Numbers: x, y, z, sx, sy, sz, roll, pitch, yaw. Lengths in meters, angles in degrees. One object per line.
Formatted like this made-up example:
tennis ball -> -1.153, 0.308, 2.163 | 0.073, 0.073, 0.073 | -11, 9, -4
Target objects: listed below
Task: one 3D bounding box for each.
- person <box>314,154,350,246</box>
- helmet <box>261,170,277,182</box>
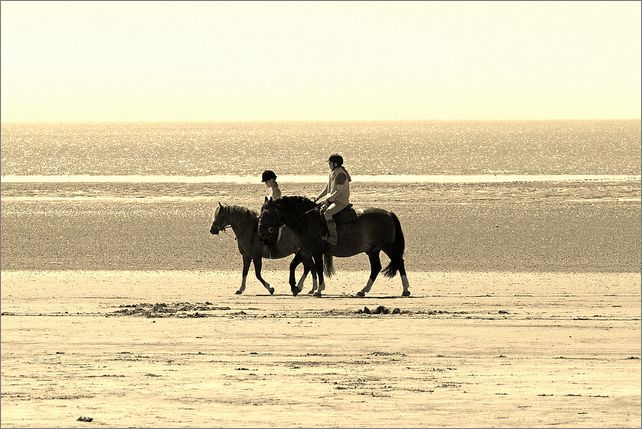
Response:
person -> 0.374, -0.513, 53.268 | 1.049, 3.049, 0.641 | 1, 3, -1
helmet -> -1.727, -1.365, 53.771 | 0.526, 0.347, 0.357 | -22, 30, -19
